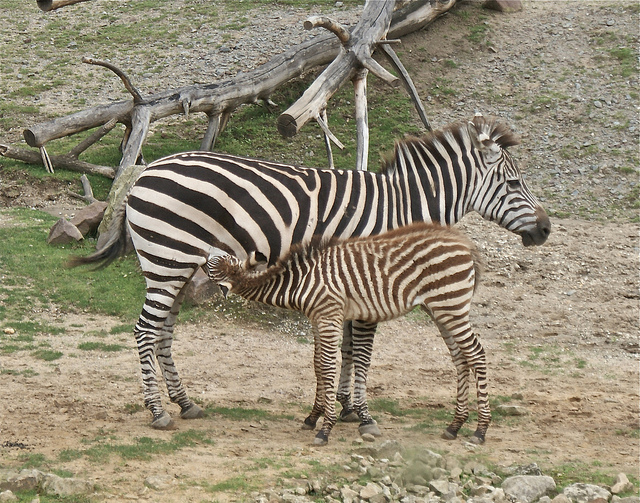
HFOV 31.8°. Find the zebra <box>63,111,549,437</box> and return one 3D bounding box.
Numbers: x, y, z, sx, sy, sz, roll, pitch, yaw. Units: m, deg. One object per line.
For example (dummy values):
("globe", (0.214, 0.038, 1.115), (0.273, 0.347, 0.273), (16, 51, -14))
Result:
("zebra", (0.054, 0.422, 18.348), (7.616, 4.772, 1.878), (-1, 0, -11))
